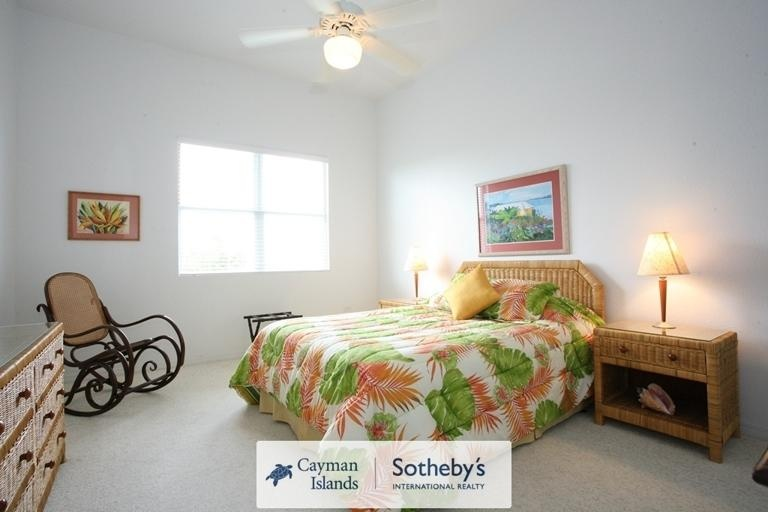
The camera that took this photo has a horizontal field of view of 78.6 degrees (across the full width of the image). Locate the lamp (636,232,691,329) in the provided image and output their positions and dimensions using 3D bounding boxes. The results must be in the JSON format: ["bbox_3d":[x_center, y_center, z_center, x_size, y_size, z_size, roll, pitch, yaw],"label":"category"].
[{"bbox_3d":[2.393,0.190,4.011,0.355,0.787,0.380,2,5,35],"label":"lamp"}]

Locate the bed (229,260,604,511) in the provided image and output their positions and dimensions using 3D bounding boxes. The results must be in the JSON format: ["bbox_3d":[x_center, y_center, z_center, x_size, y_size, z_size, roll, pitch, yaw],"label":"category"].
[{"bbox_3d":[0.624,0.869,4.012,2.411,1.026,1.828,2,-3,-35],"label":"bed"}]

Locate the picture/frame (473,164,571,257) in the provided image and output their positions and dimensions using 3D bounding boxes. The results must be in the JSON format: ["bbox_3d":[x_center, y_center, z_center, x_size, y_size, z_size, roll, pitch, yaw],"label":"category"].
[{"bbox_3d":[1.511,-0.486,4.989,1.017,0.876,0.067,-3,-4,45],"label":"picture/frame"}]

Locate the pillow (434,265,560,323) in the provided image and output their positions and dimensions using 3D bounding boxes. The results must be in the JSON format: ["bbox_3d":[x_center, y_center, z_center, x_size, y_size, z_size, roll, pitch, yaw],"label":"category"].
[{"bbox_3d":[1.101,0.393,4.511,0.715,0.216,0.637,4,30,40],"label":"pillow"}]

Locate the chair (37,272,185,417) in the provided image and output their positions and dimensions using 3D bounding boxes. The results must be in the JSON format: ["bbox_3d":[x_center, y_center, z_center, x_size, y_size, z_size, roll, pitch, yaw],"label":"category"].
[{"bbox_3d":[-2.692,0.782,4.651,1.105,1.234,1.458,-3,5,-37],"label":"chair"}]

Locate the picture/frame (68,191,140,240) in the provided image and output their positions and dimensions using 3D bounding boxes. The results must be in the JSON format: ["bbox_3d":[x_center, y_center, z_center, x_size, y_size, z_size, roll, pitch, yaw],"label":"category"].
[{"bbox_3d":[-3.049,-0.440,5.055,0.539,0.454,0.040,-2,3,-33],"label":"picture/frame"}]

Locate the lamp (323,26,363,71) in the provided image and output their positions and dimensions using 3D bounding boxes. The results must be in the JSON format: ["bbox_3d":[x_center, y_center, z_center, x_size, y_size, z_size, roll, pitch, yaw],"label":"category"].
[{"bbox_3d":[-0.375,-1.895,4.322,0.391,0.373,0.390,1,-4,-4],"label":"lamp"}]
